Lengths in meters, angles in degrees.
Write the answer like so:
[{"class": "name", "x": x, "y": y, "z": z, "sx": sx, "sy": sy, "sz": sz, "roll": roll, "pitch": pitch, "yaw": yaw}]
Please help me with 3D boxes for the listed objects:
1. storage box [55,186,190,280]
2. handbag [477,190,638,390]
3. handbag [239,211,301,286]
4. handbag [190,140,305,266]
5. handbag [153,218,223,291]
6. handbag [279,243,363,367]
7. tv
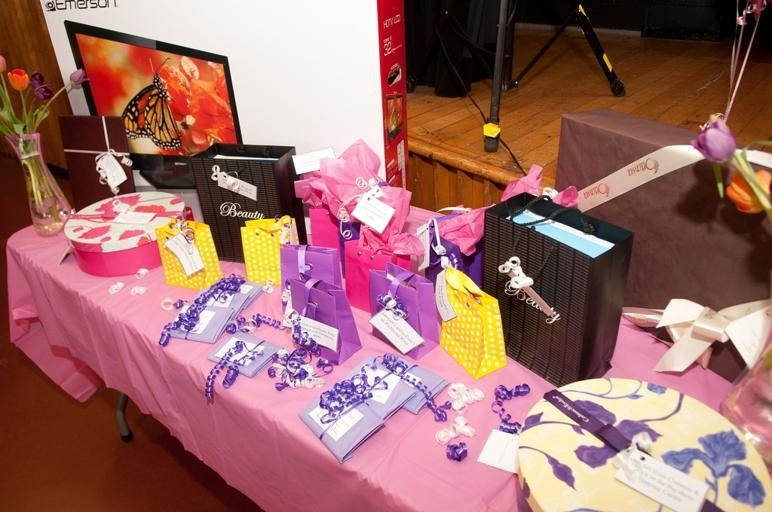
[{"class": "storage box", "x": -1.160, "y": -0.046, "z": 2.217, "sx": 0.397, "sy": 0.155, "sz": 0.417, "roll": 11, "pitch": 34, "yaw": 13}, {"class": "handbag", "x": 0.508, "y": 0.112, "z": 1.685, "sx": 0.214, "sy": 0.531, "sz": 0.398, "roll": -14, "pitch": 23, "yaw": -35}, {"class": "handbag", "x": -0.459, "y": -0.030, "z": 2.011, "sx": 0.231, "sy": 0.350, "sz": 0.132, "roll": 5, "pitch": 40, "yaw": 5}, {"class": "handbag", "x": -0.566, "y": -0.211, "z": 2.088, "sx": 0.392, "sy": 0.518, "sz": 0.270, "roll": 3, "pitch": 30, "yaw": 5}, {"class": "handbag", "x": -0.808, "y": -0.006, "z": 2.074, "sx": 0.231, "sy": 0.276, "sz": 0.113, "roll": 8, "pitch": 32, "yaw": 17}, {"class": "handbag", "x": -0.235, "y": 0.179, "z": 1.814, "sx": 0.141, "sy": 0.307, "sz": 0.304, "roll": -25, "pitch": 34, "yaw": -36}, {"class": "tv", "x": -1.106, "y": -0.753, "z": 2.447, "sx": 0.699, "sy": 0.680, "sz": 0.263, "roll": 16, "pitch": 41, "yaw": 12}]
